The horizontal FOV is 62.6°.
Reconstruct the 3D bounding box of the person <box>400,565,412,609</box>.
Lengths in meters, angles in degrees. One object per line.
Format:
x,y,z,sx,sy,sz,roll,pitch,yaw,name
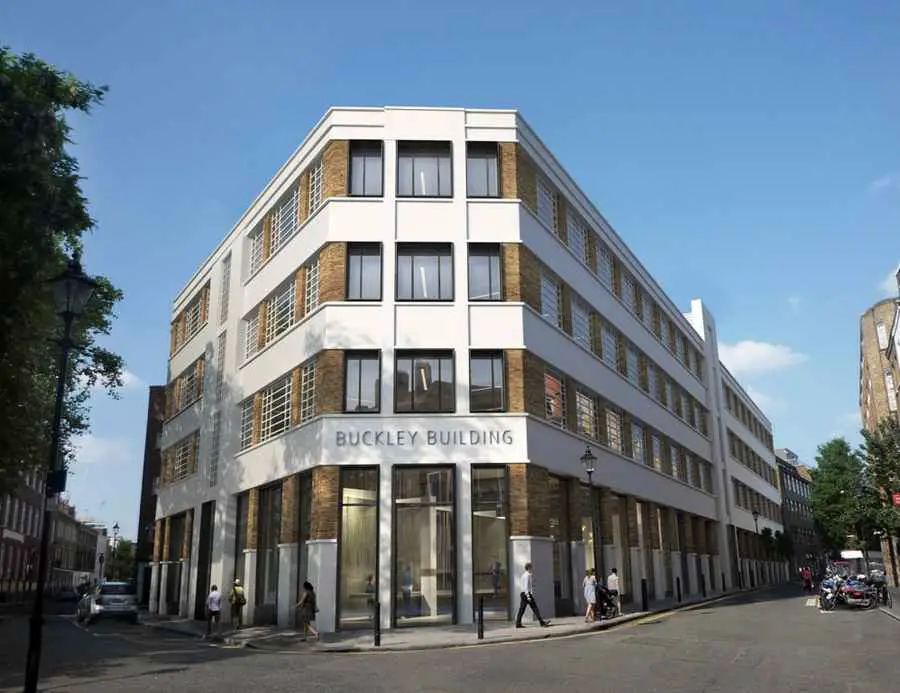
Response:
-1.545,8.678,26.909,0.385,1.472,0.209,1,-18,-7,person

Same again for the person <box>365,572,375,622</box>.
-2.818,9.011,26.593,0.285,1.673,0.995,4,-20,-17,person

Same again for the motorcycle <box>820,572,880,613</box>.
17.481,10.440,31.689,2.650,1.655,1.468,1,-14,-3,motorcycle

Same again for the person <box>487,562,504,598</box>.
1.730,8.496,27.185,0.487,1.145,0.231,-3,-18,3,person
